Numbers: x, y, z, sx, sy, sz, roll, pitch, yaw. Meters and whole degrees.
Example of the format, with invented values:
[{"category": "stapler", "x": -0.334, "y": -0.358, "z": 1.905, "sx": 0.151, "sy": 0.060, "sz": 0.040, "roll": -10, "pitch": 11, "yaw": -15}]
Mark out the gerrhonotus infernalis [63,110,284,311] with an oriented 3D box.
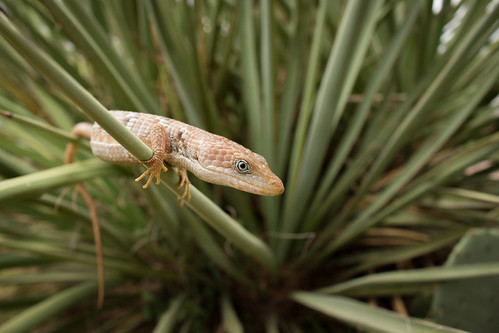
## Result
[{"category": "gerrhonotus infernalis", "x": -0.192, "y": 0.062, "z": 1.630, "sx": 1.159, "sy": 0.373, "sz": 0.369, "roll": 13, "pitch": 33, "yaw": 14}]
